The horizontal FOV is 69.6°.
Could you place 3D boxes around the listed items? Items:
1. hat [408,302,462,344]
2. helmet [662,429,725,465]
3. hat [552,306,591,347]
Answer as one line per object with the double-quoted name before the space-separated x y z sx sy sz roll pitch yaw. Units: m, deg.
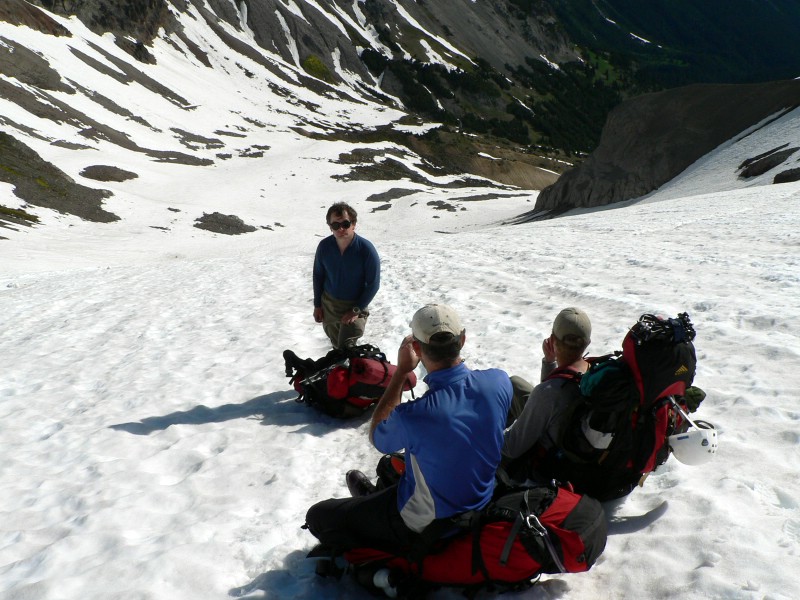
"hat" 0.377 0.178 5.732 0.500 0.236 0.601 -5 17 -9
"helmet" 3.051 1.457 5.886 0.422 0.319 0.516 5 -2 -43
"hat" 1.968 0.277 6.511 0.514 0.282 0.550 11 26 10
